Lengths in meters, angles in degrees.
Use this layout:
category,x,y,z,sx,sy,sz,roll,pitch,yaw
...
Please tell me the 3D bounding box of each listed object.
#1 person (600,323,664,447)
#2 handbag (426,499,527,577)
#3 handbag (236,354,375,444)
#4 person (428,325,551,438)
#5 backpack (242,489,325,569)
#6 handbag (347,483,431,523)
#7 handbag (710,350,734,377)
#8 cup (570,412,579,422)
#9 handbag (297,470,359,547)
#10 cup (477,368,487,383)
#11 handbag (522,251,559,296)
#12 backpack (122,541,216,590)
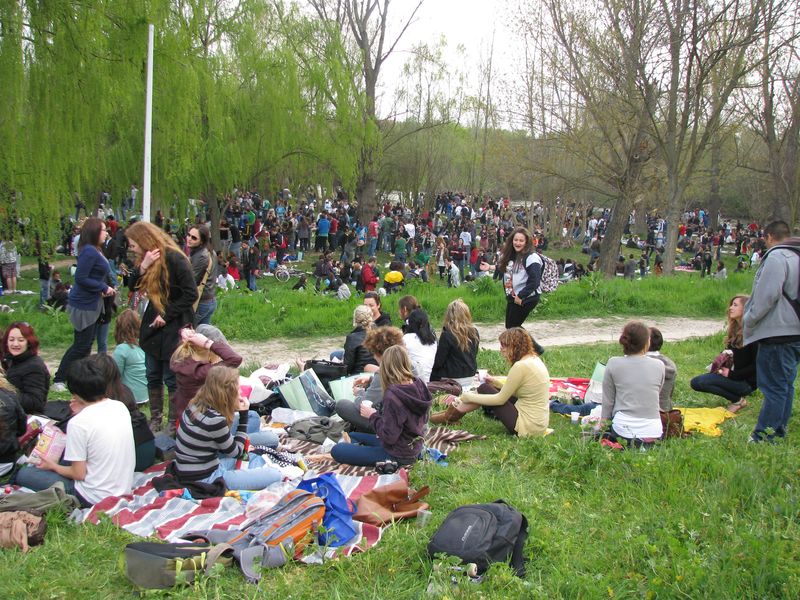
category,x,y,z,sx,sy,sz,roll,pitch,yaw
person,2.905,1.011,10.137,0.762,1.477,0.630,5,7,16
handbag,0.738,2.410,8.414,0.810,0.810,0.603,35,-36,-15
handbag,-1.254,1.418,11.704,1.262,0.521,0.970,20,29,36
person,1.162,1.137,11.091,1.661,1.565,0.926,2,1,36
backpack,-1.109,2.237,8.418,0.513,0.274,0.690,29,47,29
handbag,-0.091,2.191,8.876,0.494,0.192,0.440,-7,19,-19
handbag,4.663,0.884,11.807,0.096,0.355,0.248,12,15,-42
cup,2.435,1.607,11.420,0.090,0.092,0.098,10,8,-2
handbag,-0.699,2.230,8.722,0.413,0.743,0.228,-22,-29,-11
cup,1.289,1.146,12.795,0.121,0.150,0.245,-3,-14,-1
handbag,2.516,-0.482,13.974,0.644,0.789,0.506,0,10,-9
backpack,-2.290,2.559,8.086,0.541,0.277,0.464,1,-3,4
